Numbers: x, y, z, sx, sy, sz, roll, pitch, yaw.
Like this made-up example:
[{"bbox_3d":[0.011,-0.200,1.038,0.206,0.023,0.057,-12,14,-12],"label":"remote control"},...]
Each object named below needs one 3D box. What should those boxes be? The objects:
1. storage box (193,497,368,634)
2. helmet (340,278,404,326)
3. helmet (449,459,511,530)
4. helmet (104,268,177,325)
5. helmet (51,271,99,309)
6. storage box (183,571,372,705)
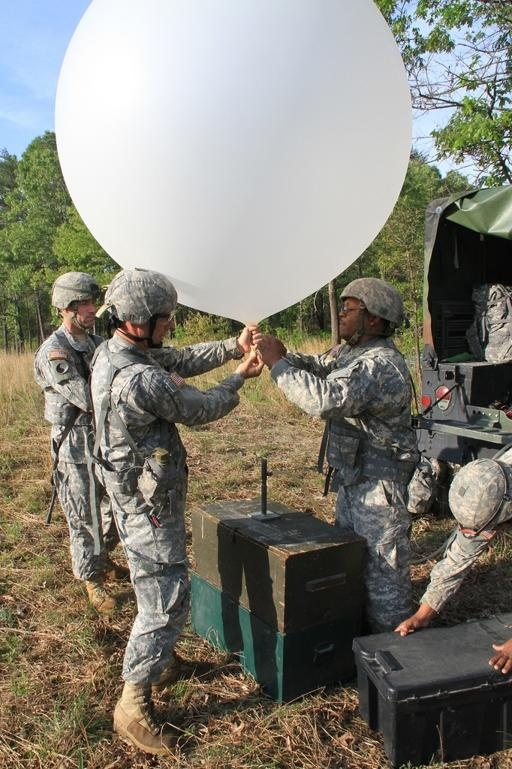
[{"bbox_3d":[0.122,0.917,2.883,0.612,0.491,1.118,-1,-2,-28],"label":"storage box"},{"bbox_3d":[0.553,-0.358,2.794,0.253,0.198,0.199,27,8,2],"label":"helmet"},{"bbox_3d":[0.805,0.371,2.201,0.188,0.260,0.210,29,17,31],"label":"helmet"},{"bbox_3d":[-0.424,-0.330,2.214,0.249,0.161,0.181,-3,18,-11],"label":"helmet"},{"bbox_3d":[-1.034,-0.545,3.523,0.253,0.197,0.199,-15,13,-6],"label":"helmet"},{"bbox_3d":[0.093,1.090,2.758,0.536,0.265,0.692,4,4,-33],"label":"storage box"}]
